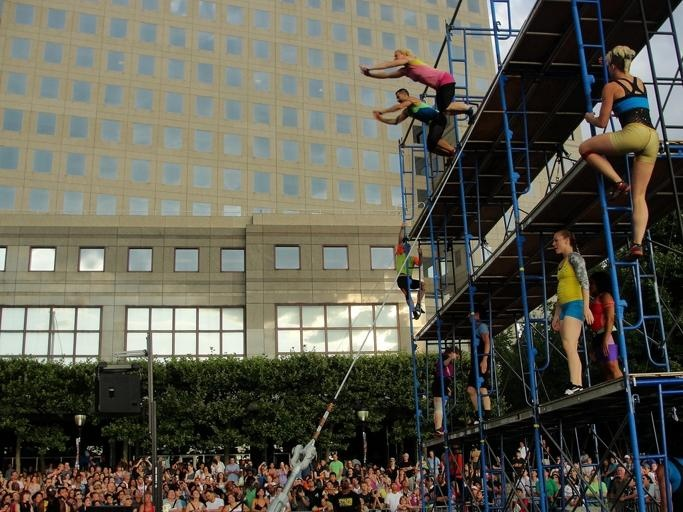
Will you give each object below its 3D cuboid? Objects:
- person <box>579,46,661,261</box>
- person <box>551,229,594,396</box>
[{"bbox_3d":[5.228,-1.946,15.062,1.241,3.923,0.931,-9,-19,23],"label":"person"},{"bbox_3d":[4.561,1.071,16.101,0.508,3.314,1.112,3,-18,-16],"label":"person"}]
